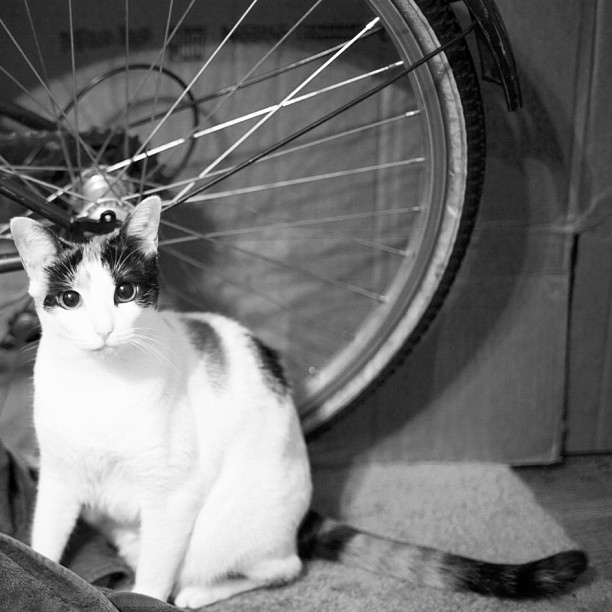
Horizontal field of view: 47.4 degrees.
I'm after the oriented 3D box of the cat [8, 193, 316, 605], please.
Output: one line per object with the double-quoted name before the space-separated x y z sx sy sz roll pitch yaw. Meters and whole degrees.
"cat" -0.244 0.125 1.140 0.447 0.710 0.379 -1 -1 -34
